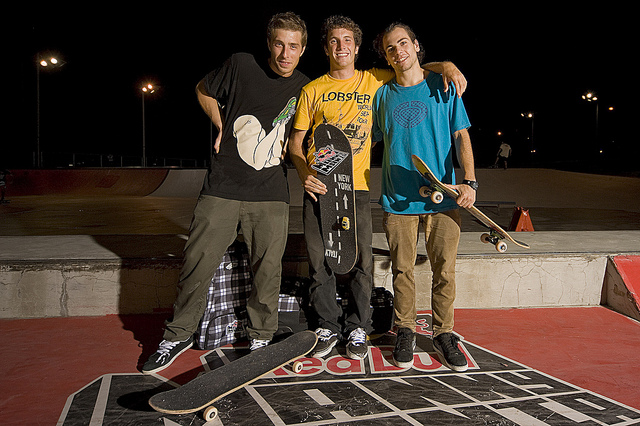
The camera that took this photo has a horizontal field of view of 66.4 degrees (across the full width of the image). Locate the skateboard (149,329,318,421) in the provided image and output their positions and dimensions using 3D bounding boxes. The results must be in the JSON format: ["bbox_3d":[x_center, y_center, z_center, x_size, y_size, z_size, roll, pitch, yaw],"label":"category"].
[{"bbox_3d":[-0.645,1.283,3.818,1.309,0.500,0.318,0,2,-33],"label":"skateboard"}]

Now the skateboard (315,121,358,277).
[{"bbox_3d":[0.147,-0.120,4.317,0.353,1.322,0.223,2,3,24],"label":"skateboard"}]

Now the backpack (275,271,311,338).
[{"bbox_3d":[-0.246,0.893,4.621,0.388,0.512,0.191,3,-3,-11],"label":"backpack"}]

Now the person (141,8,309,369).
[{"bbox_3d":[-0.721,-0.263,4.357,1.164,3.094,0.648,1,2,-4],"label":"person"}]
